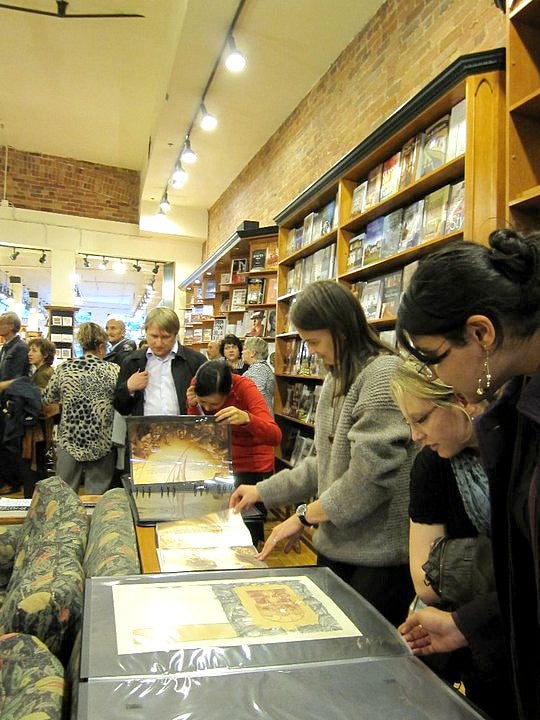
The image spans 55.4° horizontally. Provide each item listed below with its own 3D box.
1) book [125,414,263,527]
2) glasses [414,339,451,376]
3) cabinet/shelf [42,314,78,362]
[{"bbox_3d":[-0.334,0.407,1.914,0.409,0.362,0.315,0,-16,-15],"label":"book"},{"bbox_3d":[0.261,-0.007,0.818,0.018,0.058,0.057,-7,2,-36],"label":"glasses"},{"bbox_3d":[-3.764,-0.416,9.254,0.473,0.926,0.234,0,15,-23],"label":"cabinet/shelf"}]
